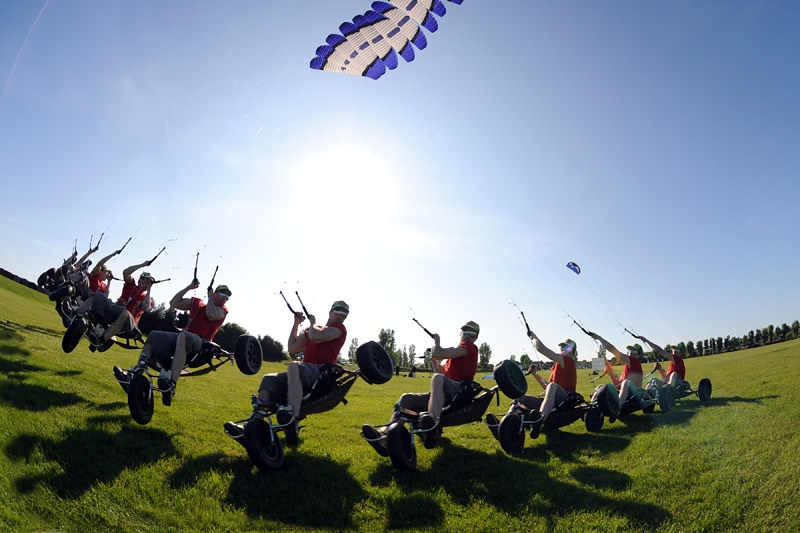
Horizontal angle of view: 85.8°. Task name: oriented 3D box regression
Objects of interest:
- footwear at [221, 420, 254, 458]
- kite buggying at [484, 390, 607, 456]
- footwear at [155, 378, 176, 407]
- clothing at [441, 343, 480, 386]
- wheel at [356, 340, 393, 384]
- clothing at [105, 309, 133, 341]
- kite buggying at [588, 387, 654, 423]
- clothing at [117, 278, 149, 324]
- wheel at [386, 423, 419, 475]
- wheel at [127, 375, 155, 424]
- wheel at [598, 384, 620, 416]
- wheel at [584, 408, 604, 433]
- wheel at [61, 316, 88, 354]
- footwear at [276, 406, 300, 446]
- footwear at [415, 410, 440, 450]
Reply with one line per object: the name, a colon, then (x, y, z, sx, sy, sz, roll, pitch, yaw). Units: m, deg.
footwear: (-3.586, 3.841, 9.502, 0.271, 0.763, 0.733, -32, 19, -35)
kite buggying: (4.569, 4.402, 13.101, 3.097, 1.522, 2.030, -14, -11, 8)
footwear: (-6.064, 3.228, 11.119, 0.339, 0.828, 0.553, 2, -1, -19)
clothing: (1.725, 2.497, 11.827, 0.764, 1.394, 1.354, 8, 4, 9)
wheel: (-0.627, 2.500, 10.984, 0.372, 1.095, 1.079, -34, -8, 19)
clothing: (-9.620, 1.948, 14.615, 0.825, 0.401, 0.826, -39, 3, -11)
kite buggying: (7.099, 4.375, 13.809, 1.370, 0.846, 2.364, -10, -30, 34)
clothing: (-9.964, 1.228, 15.987, 1.121, 1.417, 0.750, 16, 10, -9)
wheel: (0.066, 4.053, 9.669, 0.339, 0.957, 0.807, 1, -1, 44)
wheel: (-6.188, 3.171, 10.253, 0.370, 1.361, 0.746, 2, -1, -8)
wheel: (6.427, 4.128, 13.219, 0.280, 0.831, 0.815, -10, 25, 28)
wheel: (5.914, 4.649, 13.048, 0.597, 0.628, 0.227, 24, -20, -40)
wheel: (-10.480, 2.181, 13.833, 0.650, 1.403, 0.854, 2, -1, -37)
footwear: (-2.656, 3.749, 10.163, 0.375, 1.211, 0.491, -3, 15, 14)
footwear: (0.614, 3.798, 10.726, 0.456, 0.622, 1.344, -9, -6, -2)
